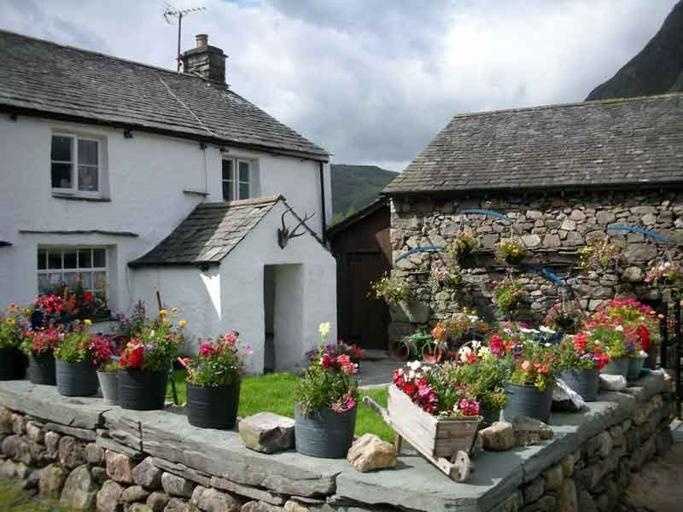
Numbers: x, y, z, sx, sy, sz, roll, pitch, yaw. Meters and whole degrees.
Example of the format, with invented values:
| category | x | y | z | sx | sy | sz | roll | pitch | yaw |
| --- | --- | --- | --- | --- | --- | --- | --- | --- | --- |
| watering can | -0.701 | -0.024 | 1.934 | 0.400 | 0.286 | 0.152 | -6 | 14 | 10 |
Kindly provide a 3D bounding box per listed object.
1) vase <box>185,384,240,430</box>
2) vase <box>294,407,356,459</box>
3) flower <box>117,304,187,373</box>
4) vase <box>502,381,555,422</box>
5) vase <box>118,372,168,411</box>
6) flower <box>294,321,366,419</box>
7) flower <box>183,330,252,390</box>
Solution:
| category | x | y | z | sx | sy | sz | roll | pitch | yaw |
| --- | --- | --- | --- | --- | --- | --- | --- | --- | --- |
| vase | -1.515 | 1.738 | 7.221 | 0.534 | 0.402 | 0.519 | 4 | -6 | -39 |
| vase | -0.165 | 1.788 | 6.471 | 0.542 | 0.404 | 0.535 | 4 | -6 | -31 |
| flower | -2.432 | 1.114 | 8.062 | 0.862 | 0.636 | 0.928 | 4 | 28 | -15 |
| vase | 2.163 | 1.702 | 7.169 | 0.528 | 0.395 | 0.465 | 4 | -4 | -44 |
| vase | -2.491 | 1.683 | 7.800 | 0.496 | 0.378 | 0.512 | -4 | -8 | 35 |
| flower | -0.195 | 1.216 | 6.715 | 0.764 | 0.932 | 0.631 | 15 | -7 | -44 |
| flower | -1.521 | 1.317 | 7.429 | 0.846 | 0.636 | 0.805 | 2 | -16 | -31 |
